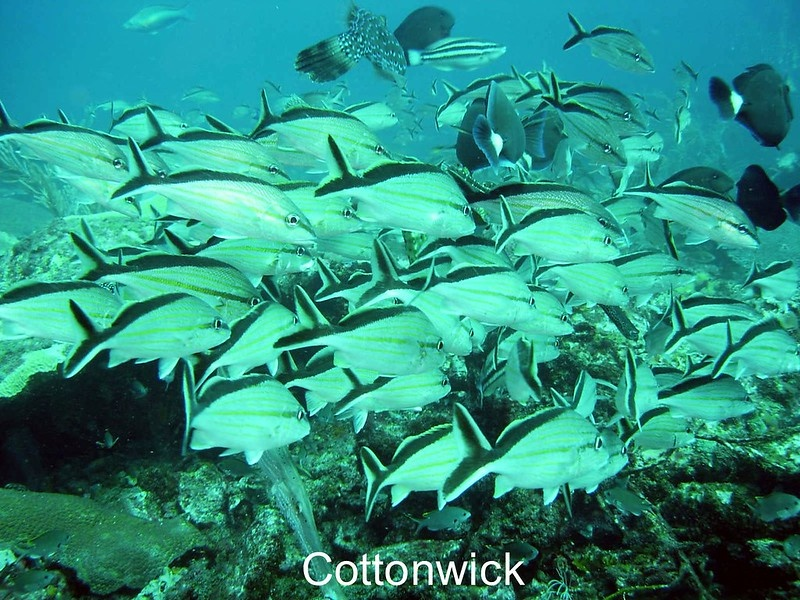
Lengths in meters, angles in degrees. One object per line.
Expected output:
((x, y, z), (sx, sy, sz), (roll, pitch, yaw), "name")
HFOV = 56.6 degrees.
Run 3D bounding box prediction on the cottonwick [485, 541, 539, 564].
((1.307, 2.885, 8.568), (0.452, 0.257, 0.205), (0, 88, 10), "cottonwick")
